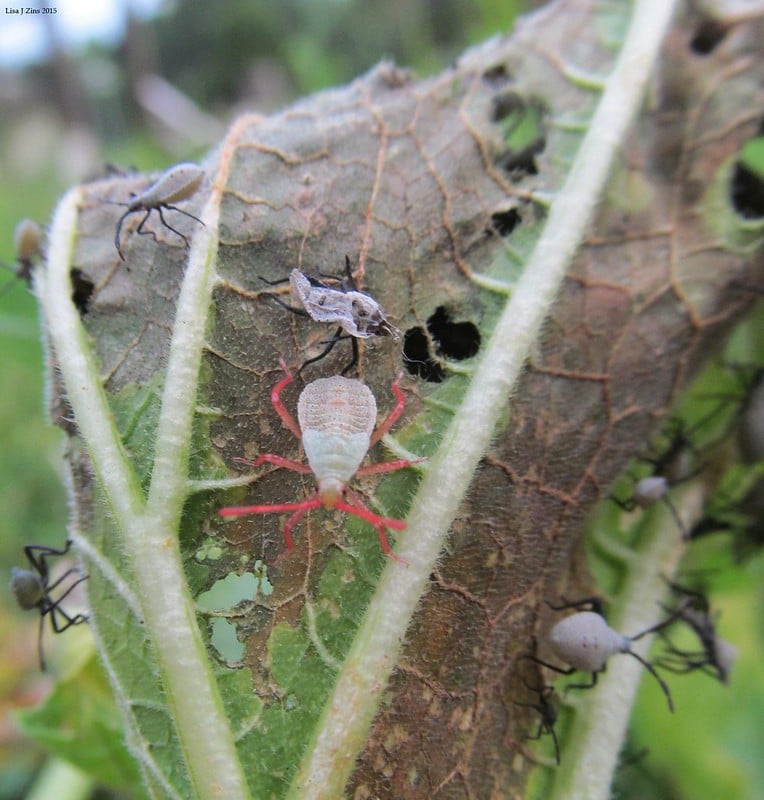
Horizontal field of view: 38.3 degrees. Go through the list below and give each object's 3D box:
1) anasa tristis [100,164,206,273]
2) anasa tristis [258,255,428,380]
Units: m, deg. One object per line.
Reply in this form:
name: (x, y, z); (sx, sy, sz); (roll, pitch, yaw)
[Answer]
anasa tristis: (-0.608, -0.512, 2.996); (0.305, 0.235, 0.097); (14, 82, 33)
anasa tristis: (-0.135, -0.215, 2.940); (0.301, 0.092, 0.280); (40, 68, -13)
